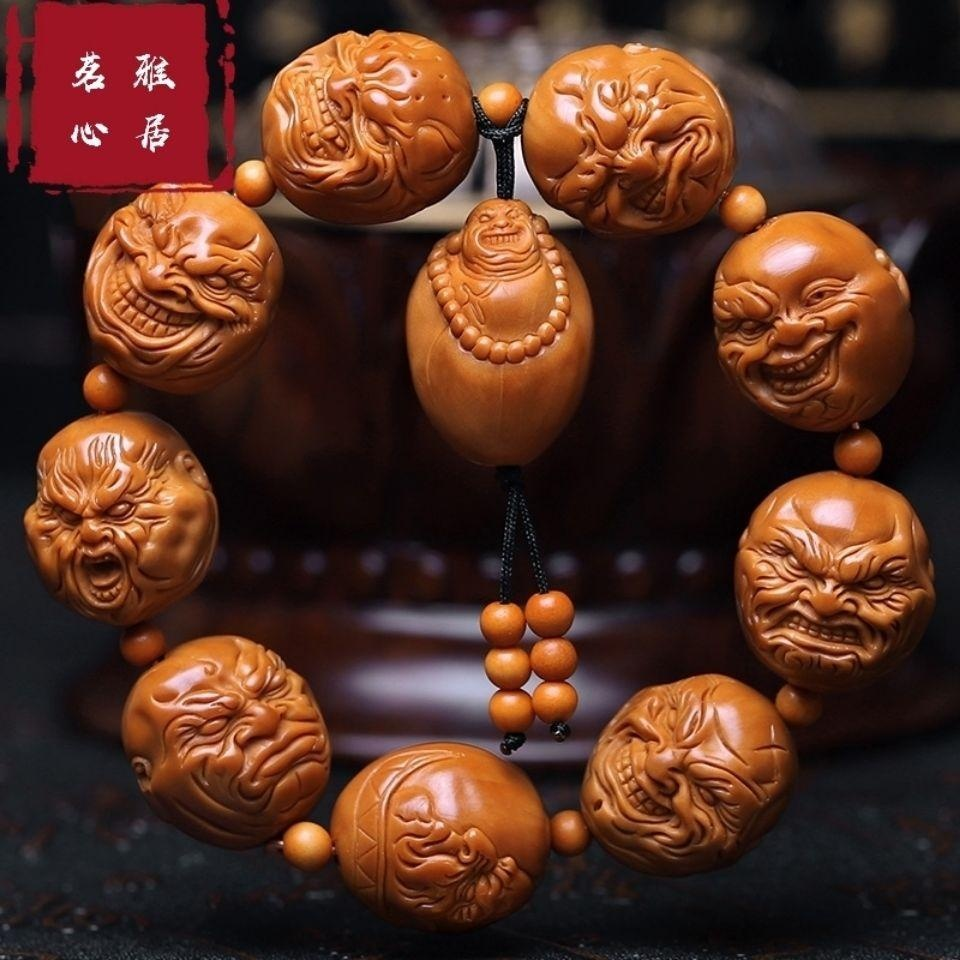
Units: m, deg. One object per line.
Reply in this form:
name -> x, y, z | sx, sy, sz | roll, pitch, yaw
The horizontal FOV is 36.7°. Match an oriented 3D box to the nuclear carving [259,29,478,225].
nuclear carving -> -0.051, -0.157, 0.666 | 0.082, 0.080, 0.077 | 23, 43, 28

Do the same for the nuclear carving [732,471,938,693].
nuclear carving -> 0.162, 0.050, 0.667 | 0.088, 0.082, 0.078 | 16, 40, 21

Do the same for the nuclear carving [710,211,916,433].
nuclear carving -> 0.149, -0.071, 0.698 | 0.097, 0.101, 0.095 | -13, 2, 35

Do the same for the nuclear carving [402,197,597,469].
nuclear carving -> 0.010, -0.066, 0.674 | 0.085, 0.108, 0.074 | -5, 37, -5

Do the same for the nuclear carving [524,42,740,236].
nuclear carving -> 0.067, -0.153, 0.661 | 0.094, 0.073, 0.061 | 0, 37, 2

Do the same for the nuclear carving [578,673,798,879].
nuclear carving -> 0.098, 0.138, 0.676 | 0.091, 0.075, 0.075 | 15, 40, 20

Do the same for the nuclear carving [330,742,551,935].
nuclear carving -> -0.013, 0.163, 0.658 | 0.097, 0.071, 0.074 | 6, 1, -12

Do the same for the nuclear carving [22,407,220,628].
nuclear carving -> -0.167, 0.017, 0.690 | 0.095, 0.100, 0.077 | -6, 1, 15
